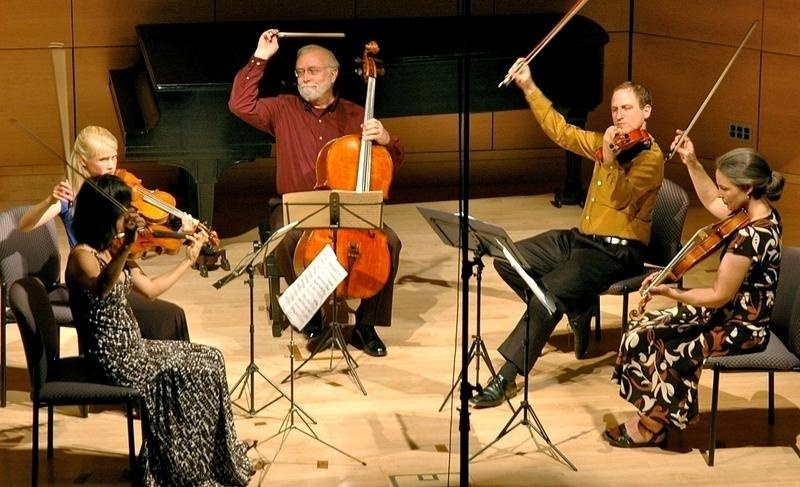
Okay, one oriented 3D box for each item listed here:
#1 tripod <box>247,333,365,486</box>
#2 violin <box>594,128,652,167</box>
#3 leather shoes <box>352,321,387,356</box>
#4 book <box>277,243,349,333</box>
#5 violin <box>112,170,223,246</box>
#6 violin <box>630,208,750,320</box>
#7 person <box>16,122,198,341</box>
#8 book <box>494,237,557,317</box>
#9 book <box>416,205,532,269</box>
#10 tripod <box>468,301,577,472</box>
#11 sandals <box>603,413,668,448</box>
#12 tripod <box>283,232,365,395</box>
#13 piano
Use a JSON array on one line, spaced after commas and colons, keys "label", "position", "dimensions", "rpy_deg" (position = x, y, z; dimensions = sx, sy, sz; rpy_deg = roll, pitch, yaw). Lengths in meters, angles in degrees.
[{"label": "tripod", "position": [-0.579, 0.955, 5.392], "dimensions": [0.616, 0.786, 0.916], "rpy_deg": [1, 4, -9]}, {"label": "violin", "position": [1.490, -0.661, 5.743], "dimensions": [0.342, 0.139, 0.182], "rpy_deg": [-8, -24, -44]}, {"label": "leather shoes", "position": [-0.222, 0.673, 6.319], "dimensions": [0.134, 0.216, 0.371], "rpy_deg": [-11, 21, -39]}, {"label": "book", "position": [-0.533, 0.268, 5.151], "dimensions": [0.324, 0.557, 0.129], "rpy_deg": [46, -15, -6]}, {"label": "violin", "position": [-1.675, -0.256, 6.292], "dimensions": [1.036, 0.179, 0.373], "rpy_deg": [29, 29, -29]}, {"label": "violin", "position": [1.580, 0.042, 5.158], "dimensions": [0.159, 0.927, 0.374], "rpy_deg": [48, 4, 10]}, {"label": "person", "position": [-1.888, -0.157, 5.524], "dimensions": [0.798, 0.373, 1.809], "rpy_deg": [-5, 46, -21]}, {"label": "book", "position": [0.862, 0.218, 5.820], "dimensions": [0.101, 0.158, 0.691], "rpy_deg": [-23, 69, -43]}, {"label": "book", "position": [0.519, -0.033, 6.289], "dimensions": [0.212, 0.298, 0.548], "rpy_deg": [-32, 28, -29]}, {"label": "tripod", "position": [0.777, 0.841, 5.383], "dimensions": [0.633, 0.914, 0.656], "rpy_deg": [2, 4, 5]}, {"label": "sandals", "position": [1.439, 1.146, 5.321], "dimensions": [0.379, 0.147, 0.171], "rpy_deg": [4, 26, 4]}, {"label": "tripod", "position": [-0.518, 0.470, 5.818], "dimensions": [0.683, 1.216, 0.929], "rpy_deg": [-1, 10, -7]}, {"label": "piano", "position": [-0.556, -1.065, 8.313], "dimensions": [5.170, 1.588, 1.959], "rpy_deg": [-5, 33, -9]}]
